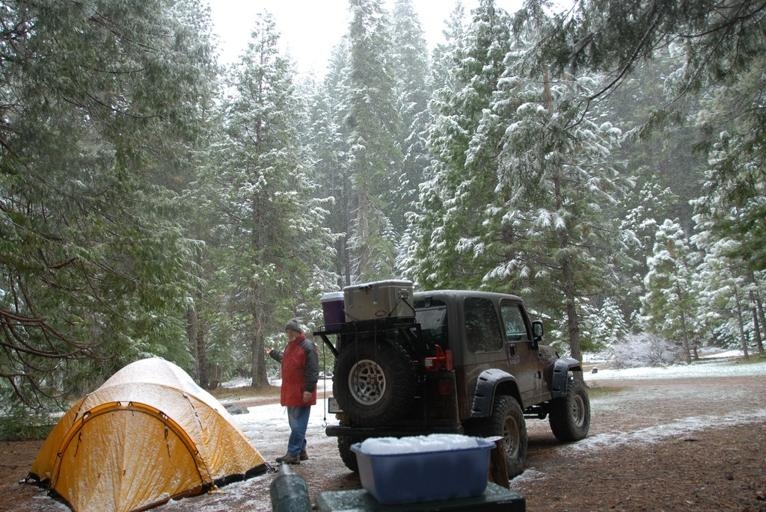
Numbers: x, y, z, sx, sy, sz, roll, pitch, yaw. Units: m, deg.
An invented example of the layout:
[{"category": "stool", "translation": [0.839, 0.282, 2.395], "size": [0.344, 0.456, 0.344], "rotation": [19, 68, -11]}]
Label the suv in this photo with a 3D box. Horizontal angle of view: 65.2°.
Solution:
[{"category": "suv", "translation": [1.584, 2.252, 11.236], "size": [5.835, 3.355, 2.595], "rotation": [3, -10, -34]}]

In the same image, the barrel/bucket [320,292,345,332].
[{"category": "barrel/bucket", "translation": [-0.937, 0.965, 10.559], "size": [0.428, 0.636, 0.498], "rotation": [-13, 4, -7]}]
